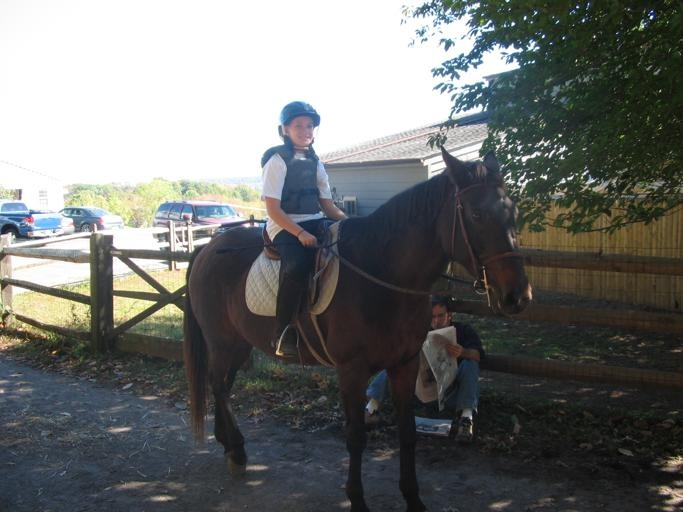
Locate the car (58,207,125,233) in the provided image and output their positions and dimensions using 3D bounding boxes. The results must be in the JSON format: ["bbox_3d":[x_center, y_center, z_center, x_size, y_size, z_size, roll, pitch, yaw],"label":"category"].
[{"bbox_3d":[-14.073,-2.094,31.246,2.124,1.157,5.501,-12,15,-41],"label":"car"}]

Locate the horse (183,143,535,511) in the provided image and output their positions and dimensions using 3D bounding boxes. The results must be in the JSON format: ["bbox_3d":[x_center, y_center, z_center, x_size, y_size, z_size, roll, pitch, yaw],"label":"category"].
[{"bbox_3d":[-0.027,0.651,5.150,3.428,3.166,0.859,4,11,30],"label":"horse"}]
